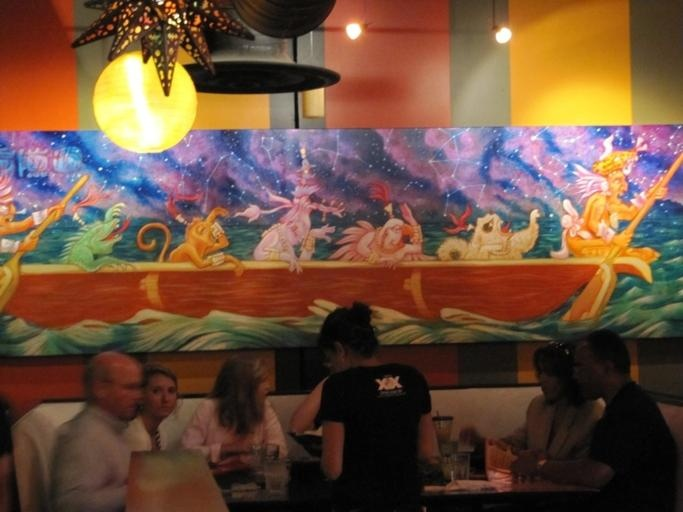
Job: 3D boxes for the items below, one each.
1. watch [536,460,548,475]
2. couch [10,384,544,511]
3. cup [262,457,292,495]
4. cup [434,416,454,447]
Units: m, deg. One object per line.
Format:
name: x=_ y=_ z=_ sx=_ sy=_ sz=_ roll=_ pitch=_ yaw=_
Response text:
watch: x=1.056 y=1.140 z=4.010 sx=0.075 sy=0.075 sz=0.045 roll=-9 pitch=19 yaw=-37
couch: x=-0.417 y=1.055 z=4.020 sx=2.732 sy=0.499 sz=0.593 roll=-1 pitch=9 yaw=-2
cup: x=-0.362 y=1.168 z=3.973 sx=0.146 sy=0.188 sz=0.137 roll=0 pitch=-21 yaw=0
cup: x=0.538 y=1.011 z=4.280 sx=0.133 sy=0.137 sz=0.134 roll=-1 pitch=-13 yaw=0
